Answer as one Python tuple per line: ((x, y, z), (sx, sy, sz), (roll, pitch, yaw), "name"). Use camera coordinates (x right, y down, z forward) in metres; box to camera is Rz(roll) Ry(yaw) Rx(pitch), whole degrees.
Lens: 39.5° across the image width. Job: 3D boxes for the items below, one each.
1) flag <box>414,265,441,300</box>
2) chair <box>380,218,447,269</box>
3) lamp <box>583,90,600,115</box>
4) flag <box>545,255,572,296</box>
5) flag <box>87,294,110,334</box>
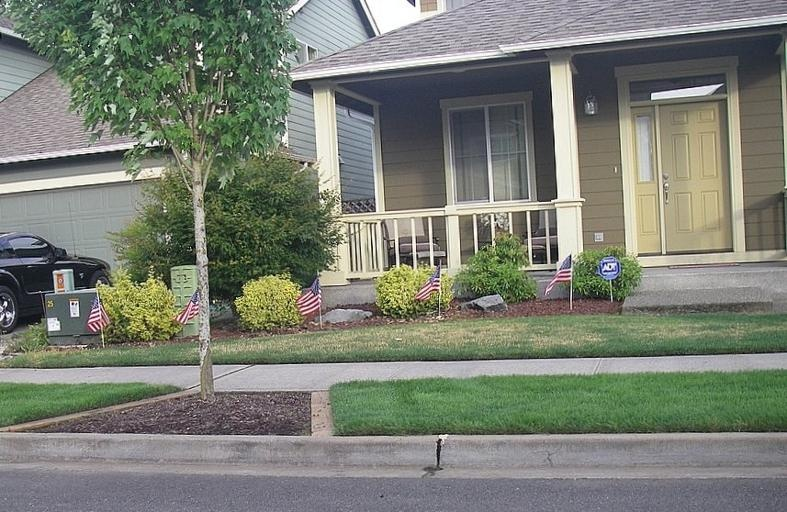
((0.606, 0.495, 19.589), (0.479, 0.686, 0.643), (-5, 9, 0), "flag")
((0.414, -0.293, 22.924), (0.932, 1.228, 1.204), (0, -2, -35), "chair")
((3.947, -3.052, 21.952), (0.287, 0.481, 0.205), (-4, 9, 8), "lamp")
((3.002, 0.343, 19.946), (0.530, 0.820, 0.895), (-4, 9, 9), "flag")
((-5.165, 1.039, 19.210), (0.383, 0.684, 0.502), (-8, 9, -16), "flag")
